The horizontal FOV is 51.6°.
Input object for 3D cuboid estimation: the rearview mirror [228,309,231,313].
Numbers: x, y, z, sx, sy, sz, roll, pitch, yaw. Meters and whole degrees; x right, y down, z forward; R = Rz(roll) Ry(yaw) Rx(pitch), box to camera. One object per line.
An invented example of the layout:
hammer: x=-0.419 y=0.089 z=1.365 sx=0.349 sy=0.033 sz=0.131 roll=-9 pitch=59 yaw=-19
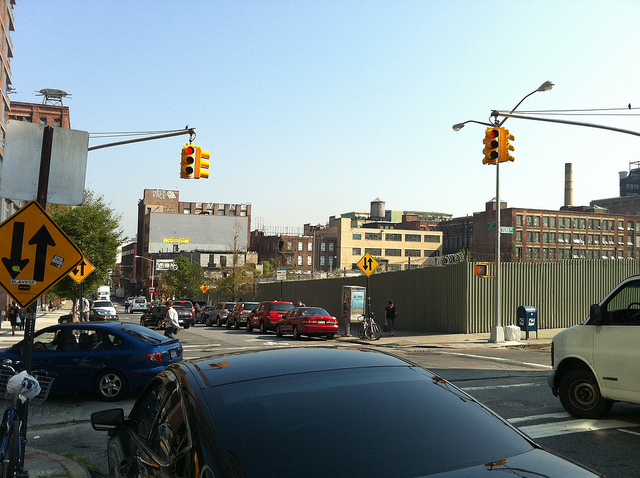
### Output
rearview mirror: x=-6.172 y=4.829 z=44.841 sx=0.163 sy=0.321 sz=0.169 roll=-2 pitch=-15 yaw=-5

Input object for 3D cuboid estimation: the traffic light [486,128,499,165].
traffic light: x=5.644 y=-2.989 z=21.674 sx=0.349 sy=1.215 sz=0.520 roll=7 pitch=-5 yaw=-36

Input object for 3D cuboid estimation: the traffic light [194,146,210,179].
traffic light: x=-3.928 y=-2.456 z=21.795 sx=0.442 sy=1.157 sz=1.075 roll=5 pitch=-5 yaw=-12

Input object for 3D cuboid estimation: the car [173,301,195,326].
car: x=-9.146 y=4.975 z=45.447 sx=1.033 sy=1.040 sz=2.366 roll=1 pitch=1 yaw=-1

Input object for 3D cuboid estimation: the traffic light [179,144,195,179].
traffic light: x=-4.403 y=-2.548 z=21.842 sx=0.405 sy=1.151 sz=0.550 roll=5 pitch=-4 yaw=-12

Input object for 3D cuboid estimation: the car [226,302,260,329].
car: x=-4.949 y=4.631 z=41.021 sx=1.185 sy=1.115 sz=2.679 roll=1 pitch=-1 yaw=-22

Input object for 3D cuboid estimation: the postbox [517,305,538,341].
postbox: x=8.365 y=3.368 z=26.650 sx=0.667 sy=1.369 sz=0.624 roll=5 pitch=-5 yaw=-21

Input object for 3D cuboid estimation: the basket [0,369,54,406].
basket: x=-3.647 y=1.773 z=8.093 sx=0.535 sy=0.447 sz=1.680 roll=7 pitch=-6 yaw=-27

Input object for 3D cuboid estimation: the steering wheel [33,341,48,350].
steering wheel: x=-5.905 y=2.219 z=13.893 sx=0.167 sy=0.043 sz=0.178 roll=6 pitch=32 yaw=-4

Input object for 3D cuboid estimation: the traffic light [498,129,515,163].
traffic light: x=5.952 y=-2.893 z=21.167 sx=0.464 sy=1.300 sz=1.596 roll=2 pitch=-5 yaw=15

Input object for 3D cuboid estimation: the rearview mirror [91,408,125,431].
rearview mirror: x=-2.093 y=1.761 z=6.500 sx=0.313 sy=0.242 sz=0.281 roll=6 pitch=-5 yaw=-17

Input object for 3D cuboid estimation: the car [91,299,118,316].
car: x=-16.695 y=5.208 z=50.945 sx=1.277 sy=0.962 sz=2.437 roll=1 pitch=-10 yaw=-21

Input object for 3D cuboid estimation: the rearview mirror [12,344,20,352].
rearview mirror: x=-6.341 y=2.229 z=13.752 sx=0.133 sy=0.161 sz=0.319 roll=6 pitch=-6 yaw=-27

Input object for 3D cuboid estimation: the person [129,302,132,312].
person: x=-20.795 y=7.454 z=72.355 sx=0.236 sy=0.783 sz=0.386 roll=3 pitch=5 yaw=-8

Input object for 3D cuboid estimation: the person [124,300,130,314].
person: x=-21.546 y=7.426 z=73.545 sx=0.407 sy=1.349 sz=2.500 roll=5 pitch=-5 yaw=-18

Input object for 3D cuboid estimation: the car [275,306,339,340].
car: x=-0.694 y=3.974 z=31.365 sx=1.457 sy=1.511 sz=3.200 roll=7 pitch=-6 yaw=-31

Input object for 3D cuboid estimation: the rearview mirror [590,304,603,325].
rearview mirror: x=4.275 y=1.149 z=10.229 sx=0.180 sy=0.321 sz=0.375 roll=2 pitch=-5 yaw=22

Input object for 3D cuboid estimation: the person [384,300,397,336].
person: x=3.253 y=3.657 z=30.813 sx=0.433 sy=1.550 sz=1.720 roll=3 pitch=-5 yaw=7

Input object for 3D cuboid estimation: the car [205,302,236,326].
car: x=-6.865 y=5.099 z=45.782 sx=1.187 sy=0.988 sz=2.373 roll=1 pitch=-2 yaw=-28

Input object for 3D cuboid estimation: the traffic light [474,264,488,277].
traffic light: x=6.703 y=1.236 z=27.467 sx=0.474 sy=0.486 sz=0.608 roll=3 pitch=-5 yaw=7
